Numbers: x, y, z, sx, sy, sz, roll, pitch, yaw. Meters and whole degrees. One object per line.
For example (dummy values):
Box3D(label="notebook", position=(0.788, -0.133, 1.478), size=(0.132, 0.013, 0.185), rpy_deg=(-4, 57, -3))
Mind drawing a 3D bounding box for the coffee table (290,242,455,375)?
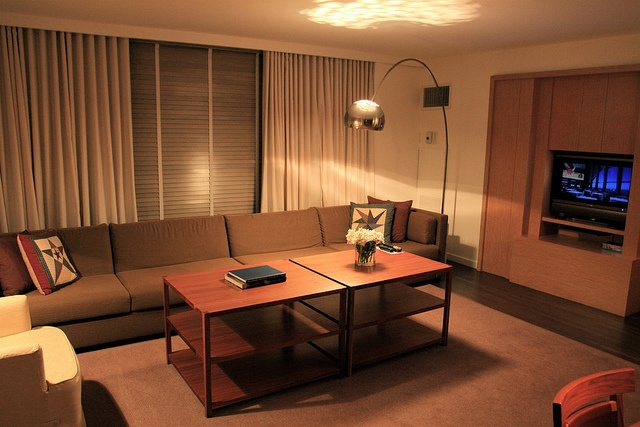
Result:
Box3D(label="coffee table", position=(0.552, 0.897, 4.446), size=(1.332, 0.817, 1.266), rpy_deg=(-11, 16, -43))

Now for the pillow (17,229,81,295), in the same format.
Box3D(label="pillow", position=(-2.662, 0.497, 4.349), size=(0.337, 0.498, 0.593), rpy_deg=(-3, 6, 6))

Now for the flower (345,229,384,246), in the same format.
Box3D(label="flower", position=(0.457, 0.240, 4.533), size=(0.267, 0.137, 0.263), rpy_deg=(1, 2, 9))

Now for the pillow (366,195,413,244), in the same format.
Box3D(label="pillow", position=(0.891, 0.094, 5.793), size=(0.695, 0.560, 0.362), rpy_deg=(3, 22, 45))

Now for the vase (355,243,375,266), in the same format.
Box3D(label="vase", position=(0.446, 0.399, 4.382), size=(0.242, 0.225, 0.230), rpy_deg=(0, 3, -8))

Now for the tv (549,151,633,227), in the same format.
Box3D(label="tv", position=(3.340, -0.305, 5.441), size=(0.193, 0.709, 0.920), rpy_deg=(-17, 24, -41))

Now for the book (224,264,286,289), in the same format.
Box3D(label="book", position=(-0.569, 0.569, 3.994), size=(0.280, 0.056, 0.266), rpy_deg=(-5, 11, -34))
